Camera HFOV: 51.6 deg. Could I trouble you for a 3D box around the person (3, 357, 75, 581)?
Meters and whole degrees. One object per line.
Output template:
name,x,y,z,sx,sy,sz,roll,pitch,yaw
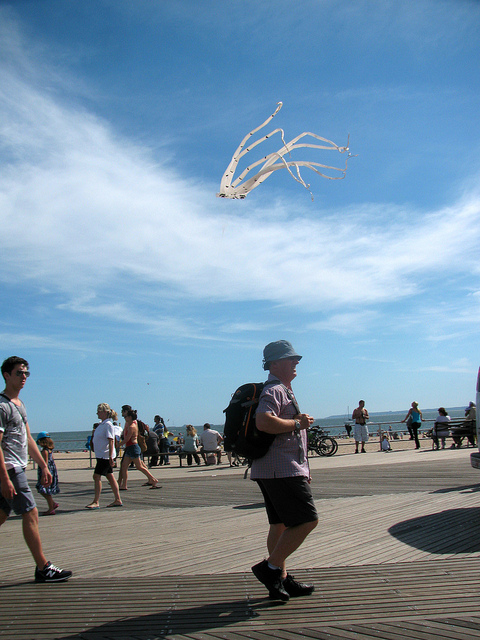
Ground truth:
person,-1.724,1.206,4.124,0.529,1.809,0.855,1,-10,-19

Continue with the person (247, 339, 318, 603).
person,0.271,1.039,3.459,0.521,1.809,1.380,-3,-9,8

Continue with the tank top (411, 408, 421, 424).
tank top,7.054,3.828,19.870,0.328,0.513,0.510,-5,-9,17

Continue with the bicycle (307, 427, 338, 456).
bicycle,3.175,4.632,19.098,1.121,1.054,0.930,-2,-9,3

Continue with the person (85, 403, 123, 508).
person,-2.395,2.380,8.719,0.623,1.816,1.395,0,-9,-14

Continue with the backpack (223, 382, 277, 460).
backpack,0.080,0.722,3.612,0.412,0.520,0.437,14,-16,-22
